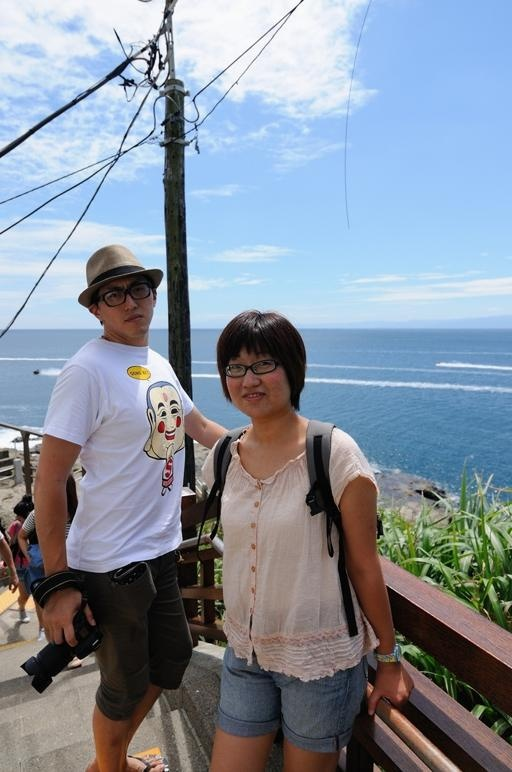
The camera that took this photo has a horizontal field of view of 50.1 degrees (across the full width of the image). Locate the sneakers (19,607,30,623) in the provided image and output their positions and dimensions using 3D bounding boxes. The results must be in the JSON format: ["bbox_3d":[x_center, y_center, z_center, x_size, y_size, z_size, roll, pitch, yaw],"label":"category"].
[{"bbox_3d":[-1.931,1.930,4.587,0.051,0.108,0.149,4,-15,-39],"label":"sneakers"}]

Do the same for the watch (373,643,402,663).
[{"bbox_3d":[0.396,0.787,1.632,0.059,0.036,0.060,-5,-3,1],"label":"watch"}]

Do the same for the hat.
[{"bbox_3d":[-0.595,-0.477,2.307,0.362,0.170,0.441,-20,2,-19],"label":"hat"}]
